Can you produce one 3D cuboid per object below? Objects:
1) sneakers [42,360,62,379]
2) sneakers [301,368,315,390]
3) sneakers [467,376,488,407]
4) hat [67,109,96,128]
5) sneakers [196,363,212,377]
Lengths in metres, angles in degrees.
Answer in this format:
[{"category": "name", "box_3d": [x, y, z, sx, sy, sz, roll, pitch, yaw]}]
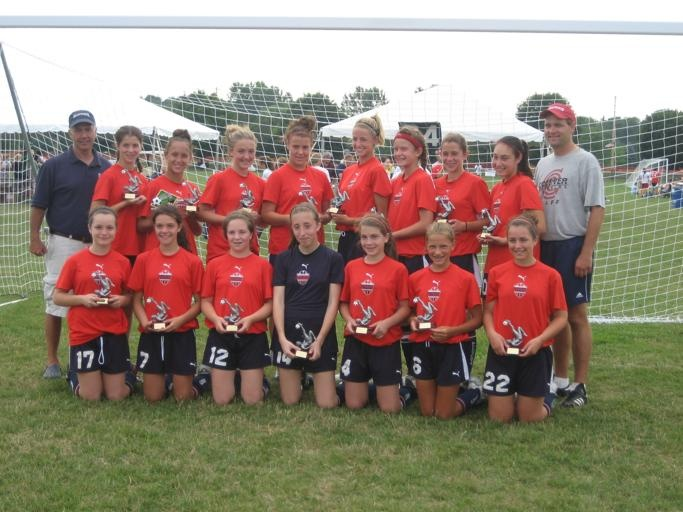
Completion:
[{"category": "sneakers", "box_3d": [-3.104, 1.232, 7.933, 0.144, 0.133, 0.173, -1, -2, -11]}, {"category": "sneakers", "box_3d": [-0.361, 1.320, 7.839, 0.104, 0.087, 0.254, -13, -29, 20]}, {"category": "sneakers", "box_3d": [1.376, 1.352, 7.535, 0.109, 0.145, 0.335, -6, 22, 19]}, {"category": "hat", "box_3d": [-2.785, -1.466, 7.944, 0.256, 0.178, 0.225, -5, 16, -23]}, {"category": "sneakers", "box_3d": [-1.490, 1.227, 7.998, 0.132, 0.062, 0.182, 3, 1, -6]}]
